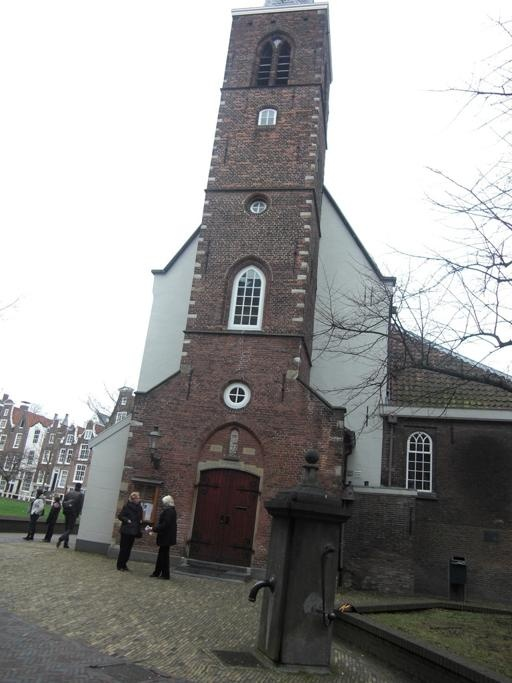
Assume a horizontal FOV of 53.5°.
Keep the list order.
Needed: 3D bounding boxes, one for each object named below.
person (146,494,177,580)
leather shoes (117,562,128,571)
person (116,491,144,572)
[{"bbox_3d":[-2.066,4.421,11.448,0.573,1.775,0.812,10,-20,-4],"label":"person"},{"bbox_3d":[-3.080,5.330,11.942,0.285,0.223,0.115,-1,-11,9],"label":"leather shoes"},{"bbox_3d":[-3.045,4.536,12.144,0.608,1.767,0.653,12,-20,-10],"label":"person"}]
